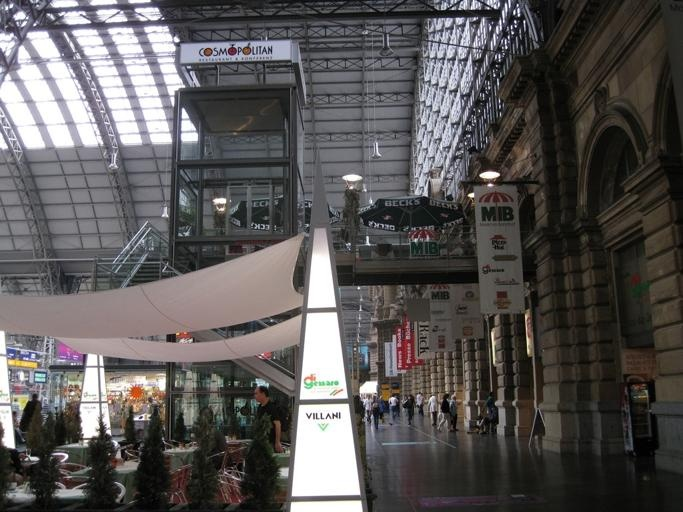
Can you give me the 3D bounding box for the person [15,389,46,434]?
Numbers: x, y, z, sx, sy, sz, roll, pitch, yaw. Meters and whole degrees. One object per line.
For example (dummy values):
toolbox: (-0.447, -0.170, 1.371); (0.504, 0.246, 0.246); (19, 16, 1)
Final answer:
person: (-10.188, 5.144, 24.175); (0.601, 0.599, 1.718); (1, -48, -25)
